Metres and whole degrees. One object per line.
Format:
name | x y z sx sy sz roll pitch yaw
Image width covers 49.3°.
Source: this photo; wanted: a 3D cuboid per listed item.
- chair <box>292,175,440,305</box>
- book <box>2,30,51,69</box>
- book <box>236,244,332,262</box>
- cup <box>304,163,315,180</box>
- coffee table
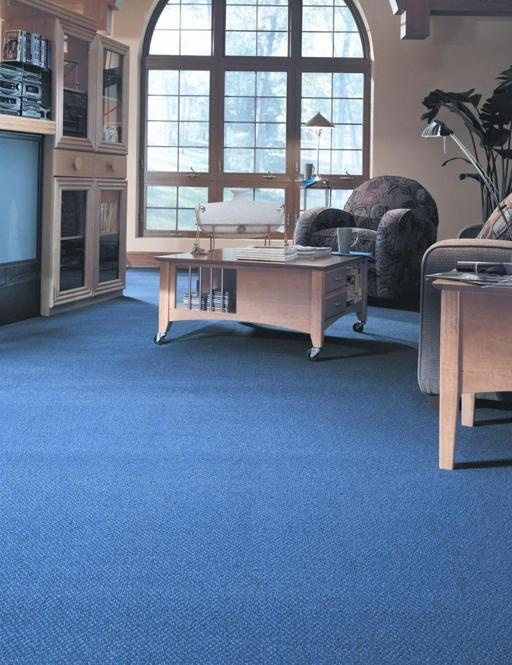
chair | 1.087 -0.952 5.274 1.025 1.051 1.116 10 16 40
book | -1.516 -1.860 3.651 0.170 0.274 0.352 3 10 13
book | 0.188 -0.444 3.124 0.591 0.082 0.271 -6 12 -36
cup | 0.610 -1.876 6.555 0.146 0.227 0.232 -1 -1 1
coffee table | 0.026 -0.226 3.353 1.142 0.571 0.826 3 10 14
